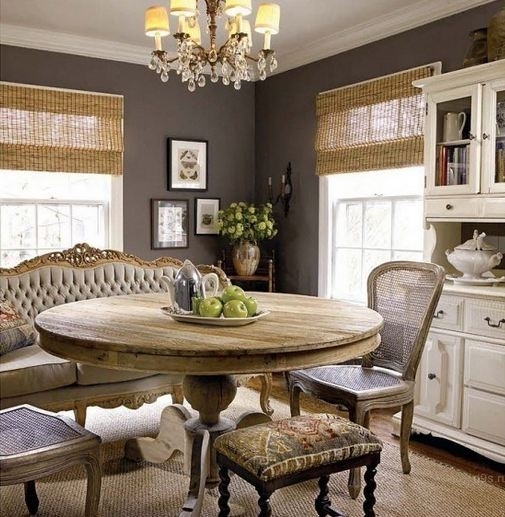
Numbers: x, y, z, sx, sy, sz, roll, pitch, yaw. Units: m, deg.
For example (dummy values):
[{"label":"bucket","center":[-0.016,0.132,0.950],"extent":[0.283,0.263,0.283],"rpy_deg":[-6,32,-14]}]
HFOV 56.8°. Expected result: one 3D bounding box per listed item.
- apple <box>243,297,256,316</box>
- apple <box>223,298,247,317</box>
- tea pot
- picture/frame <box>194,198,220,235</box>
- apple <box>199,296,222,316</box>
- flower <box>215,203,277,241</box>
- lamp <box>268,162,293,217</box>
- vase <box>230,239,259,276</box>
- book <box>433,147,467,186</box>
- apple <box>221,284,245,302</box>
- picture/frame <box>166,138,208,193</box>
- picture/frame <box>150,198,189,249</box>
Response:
[{"label":"apple","center":[0.001,0.178,1.715],"extent":[0.056,0.068,0.057],"rpy_deg":[2,6,40]},{"label":"apple","center":[-0.066,0.179,1.689],"extent":[0.066,0.064,0.072],"rpy_deg":[9,-26,-12]},{"label":"tea pot","center":[-0.242,0.115,1.817],"extent":[0.207,0.218,0.138],"rpy_deg":[-4,-5,1]},{"label":"picture/frame","center":[-0.451,-0.417,4.607],"extent":[0.261,0.367,0.028],"rpy_deg":[2,1,21]},{"label":"apple","center":[-0.149,0.173,1.648],"extent":[0.068,0.066,0.068],"rpy_deg":[3,8,17]},{"label":"flower","center":[-0.074,-0.292,4.319],"extent":[0.429,0.293,0.426],"rpy_deg":[0,5,-8]},{"label":"lamp","center":[0.215,-0.668,4.515],"extent":[0.167,0.508,0.353],"rpy_deg":[-3,8,-27]},{"label":"vase","center":[-0.075,-0.014,4.345],"extent":[0.273,0.335,0.270],"rpy_deg":[-4,5,-40]},{"label":"book","center":[1.095,-0.509,2.639],"extent":[0.194,0.282,0.215],"rpy_deg":[2,3,24]},{"label":"apple","center":[-0.082,0.122,1.745],"extent":[0.066,0.064,0.067],"rpy_deg":[2,17,2]},{"label":"picture/frame","center":[-0.646,-0.900,4.449],"extent":[0.547,0.632,0.044],"rpy_deg":[-2,4,-35]},{"label":"picture/frame","center":[-0.806,-0.336,4.384],"extent":[0.475,0.576,0.024],"rpy_deg":[-3,4,-39]}]
